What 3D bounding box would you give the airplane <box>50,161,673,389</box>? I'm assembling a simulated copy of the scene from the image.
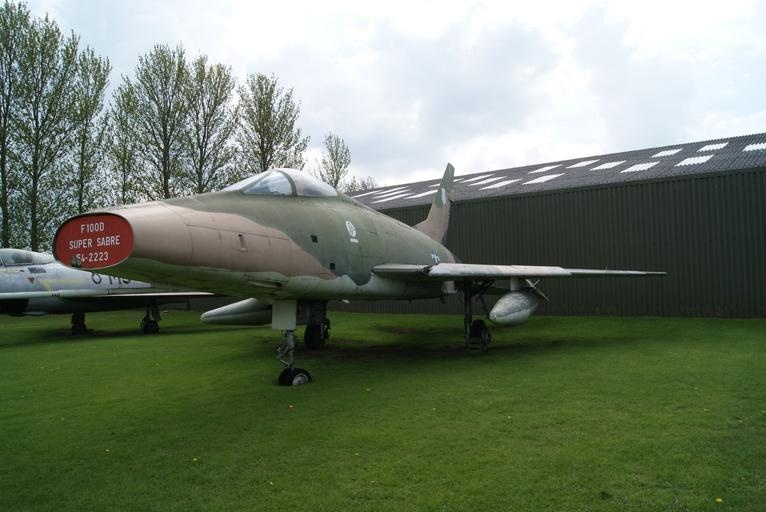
[{"bbox_3d":[-0.941,0.356,9.851,9.488,4.091,3.462,-7,11,-35],"label":"airplane"}]
